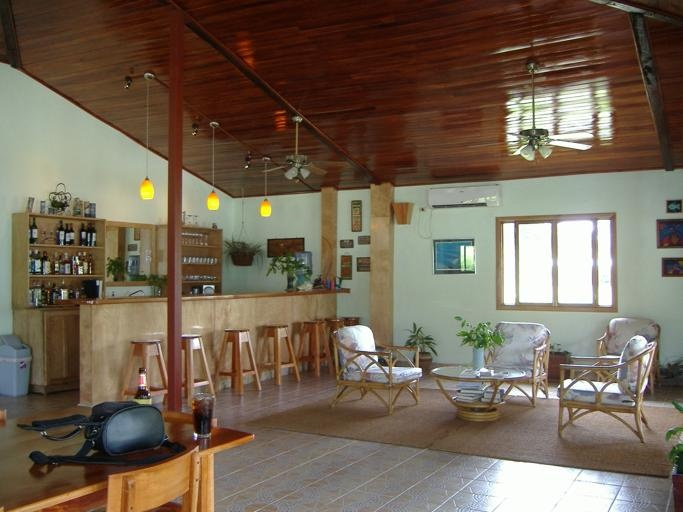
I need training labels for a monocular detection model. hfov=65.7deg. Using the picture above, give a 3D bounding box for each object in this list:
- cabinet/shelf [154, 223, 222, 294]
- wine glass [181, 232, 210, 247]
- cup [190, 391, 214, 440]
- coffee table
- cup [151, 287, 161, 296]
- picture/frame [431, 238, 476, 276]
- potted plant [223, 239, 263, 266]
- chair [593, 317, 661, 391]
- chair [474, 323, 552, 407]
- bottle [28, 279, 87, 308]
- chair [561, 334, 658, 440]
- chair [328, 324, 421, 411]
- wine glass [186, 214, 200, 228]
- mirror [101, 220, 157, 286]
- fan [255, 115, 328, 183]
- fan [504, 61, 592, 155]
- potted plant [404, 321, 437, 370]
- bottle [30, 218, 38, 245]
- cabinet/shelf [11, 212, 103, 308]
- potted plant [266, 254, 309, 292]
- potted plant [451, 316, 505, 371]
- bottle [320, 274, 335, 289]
[{"bbox_3d":[-3.002,0.095,10.631,0.954,1.513,0.249,0,-31,-15],"label":"cabinet/shelf"},{"bbox_3d":[-2.926,-0.333,10.679,0.224,0.295,0.731,0,0,23],"label":"wine glass"},{"bbox_3d":[-0.738,0.841,2.781,0.139,0.205,0.137,-2,-7,0],"label":"cup"},{"bbox_3d":[1.585,1.609,6.272,0.779,0.326,0.772,-2,-2,29],"label":"coffee table"},{"bbox_3d":[-3.370,0.644,9.606,0.158,0.142,0.083,2,4,14],"label":"cup"},{"bbox_3d":[2.125,0.017,9.853,0.747,0.575,0.058,-1,-2,27],"label":"picture/frame"},{"bbox_3d":[-2.107,-0.056,11.471,0.647,0.390,0.627,2,-1,-37],"label":"potted plant"},{"bbox_3d":[4.375,1.518,8.055,0.803,0.990,0.685,1,9,41],"label":"chair"},{"bbox_3d":[2.400,1.409,7.074,1.033,1.172,1.056,-3,-8,33],"label":"chair"},{"bbox_3d":[-4.341,0.559,8.097,0.356,0.366,0.970,0,0,19],"label":"bottle"},{"bbox_3d":[2.874,1.391,5.779,1.047,0.975,0.842,-3,-1,17],"label":"chair"},{"bbox_3d":[0.428,1.445,7.089,1.228,1.040,1.014,-3,-6,30],"label":"chair"},{"bbox_3d":[-2.960,-0.698,10.527,0.245,0.260,0.238,1,-3,14],"label":"wine glass"},{"bbox_3d":[-3.780,-0.045,9.304,0.099,1.032,1.276,2,1,33],"label":"mirror"},{"bbox_3d":[-0.670,-1.716,7.875,0.813,0.725,0.873,7,12,22],"label":"fan"},{"bbox_3d":[2.613,-1.923,6.700,1.248,1.162,1.135,0,-2,16],"label":"fan"},{"bbox_3d":[1.448,1.697,9.951,0.630,0.874,0.683,-4,2,-41],"label":"potted plant"},{"bbox_3d":[-4.577,-0.372,7.861,0.087,0.385,0.223,0,0,-23],"label":"bottle"},{"bbox_3d":[-4.376,0.066,8.020,0.433,1.577,1.484,-3,-5,34],"label":"cabinet/shelf"},{"bbox_3d":[-0.942,0.272,9.993,0.809,0.737,0.802,1,1,-41],"label":"potted plant"},{"bbox_3d":[1.752,1.103,6.607,0.669,0.624,0.531,3,-5,-3],"label":"potted plant"},{"bbox_3d":[-0.265,0.526,10.611,0.249,0.505,0.294,2,-4,-21],"label":"bottle"}]
